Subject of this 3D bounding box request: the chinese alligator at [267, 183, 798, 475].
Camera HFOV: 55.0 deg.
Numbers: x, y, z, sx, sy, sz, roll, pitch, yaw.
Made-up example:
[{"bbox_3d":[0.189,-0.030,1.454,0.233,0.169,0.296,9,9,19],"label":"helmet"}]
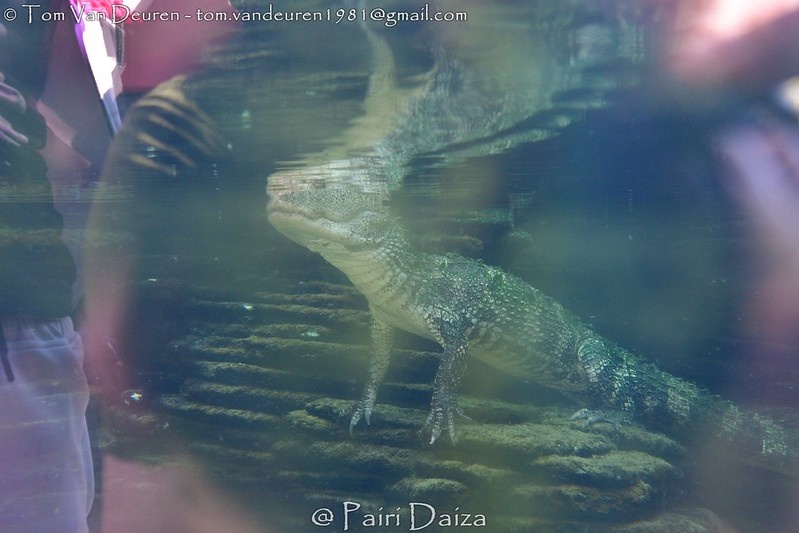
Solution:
[{"bbox_3d":[1.086,0.905,8.255,5.835,1.110,1.575,27,79,5],"label":"chinese alligator"}]
